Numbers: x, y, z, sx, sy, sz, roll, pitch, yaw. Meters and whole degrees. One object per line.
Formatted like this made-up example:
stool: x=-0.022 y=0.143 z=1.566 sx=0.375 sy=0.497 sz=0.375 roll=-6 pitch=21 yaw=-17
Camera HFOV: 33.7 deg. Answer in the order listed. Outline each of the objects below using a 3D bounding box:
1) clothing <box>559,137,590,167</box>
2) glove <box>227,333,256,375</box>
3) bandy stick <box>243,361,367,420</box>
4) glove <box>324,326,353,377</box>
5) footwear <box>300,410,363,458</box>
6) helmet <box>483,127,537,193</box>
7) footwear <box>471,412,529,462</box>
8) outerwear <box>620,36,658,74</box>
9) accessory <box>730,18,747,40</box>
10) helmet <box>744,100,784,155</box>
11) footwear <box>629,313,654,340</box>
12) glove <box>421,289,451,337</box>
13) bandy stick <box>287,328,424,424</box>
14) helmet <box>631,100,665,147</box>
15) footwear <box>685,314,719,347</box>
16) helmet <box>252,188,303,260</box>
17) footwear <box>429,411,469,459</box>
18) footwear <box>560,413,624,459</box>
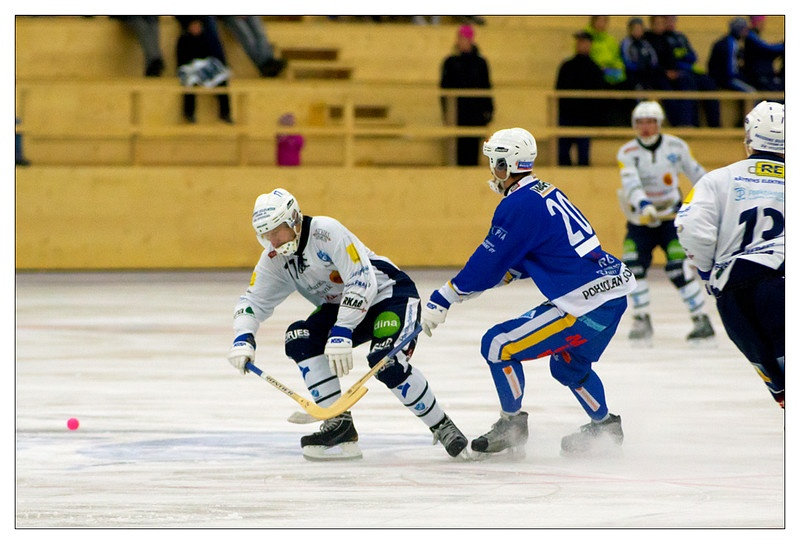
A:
clothing: x=2.686 y=-1.869 z=20.590 sx=0.480 sy=0.435 sz=0.152 roll=0 pitch=1 yaw=-4
glove: x=-1.376 y=0.681 z=11.322 sx=0.153 sy=0.320 sz=0.240 roll=24 pitch=7 yaw=-11
bandy stick: x=-0.891 y=1.084 z=11.895 sx=1.187 sy=0.207 sz=0.214 roll=18 pitch=-24 yaw=31
glove: x=-0.528 y=0.659 z=11.155 sx=0.167 sy=0.376 sz=0.280 roll=0 pitch=-7 yaw=-1
footwear: x=-0.591 y=1.413 z=11.388 sx=0.554 sy=0.372 sz=0.196 roll=-5 pitch=-6 yaw=13
helmet: x=0.931 y=-0.951 z=11.384 sx=0.488 sy=0.558 sz=0.402 roll=5 pitch=12 yaw=27
footwear: x=0.833 y=1.423 z=11.353 sx=0.645 sy=0.373 sz=0.196 roll=-1 pitch=3 yaw=-34
outerwear: x=3.636 y=-3.291 z=20.106 sx=0.586 sy=0.508 sz=0.486 roll=1 pitch=7 yaw=4
accessory: x=5.106 y=-3.687 z=20.047 sx=0.307 sy=0.297 sz=0.344 roll=0 pitch=30 yaw=10
helmet: x=3.116 y=-1.212 z=11.158 sx=0.374 sy=0.426 sz=0.443 roll=0 pitch=13 yaw=-5
footwear: x=2.693 y=0.600 z=14.889 sx=0.273 sy=0.290 sz=0.247 roll=1 pitch=7 yaw=8
glove: x=0.278 y=0.356 z=11.294 sx=0.161 sy=0.395 sz=0.229 roll=32 pitch=15 yaw=-25
bandy stick: x=-0.425 y=0.918 z=11.492 sx=0.170 sy=1.135 sz=0.177 roll=46 pitch=6 yaw=-46
helmet: x=2.745 y=-1.643 z=14.762 sx=0.311 sy=0.506 sz=0.339 roll=1 pitch=7 yaw=9
footwear: x=3.257 y=0.660 z=14.659 sx=0.445 sy=0.407 sz=0.209 roll=-12 pitch=0 yaw=8
helmet: x=-1.049 y=-0.404 z=11.100 sx=0.407 sy=0.554 sz=0.265 roll=0 pitch=7 yaw=-6
footwear: x=0.400 y=1.403 z=11.329 sx=0.186 sy=0.215 sz=0.434 roll=20 pitch=26 yaw=-45
footwear: x=1.659 y=1.451 z=11.587 sx=0.576 sy=0.336 sz=0.284 roll=-6 pitch=-2 yaw=-4
